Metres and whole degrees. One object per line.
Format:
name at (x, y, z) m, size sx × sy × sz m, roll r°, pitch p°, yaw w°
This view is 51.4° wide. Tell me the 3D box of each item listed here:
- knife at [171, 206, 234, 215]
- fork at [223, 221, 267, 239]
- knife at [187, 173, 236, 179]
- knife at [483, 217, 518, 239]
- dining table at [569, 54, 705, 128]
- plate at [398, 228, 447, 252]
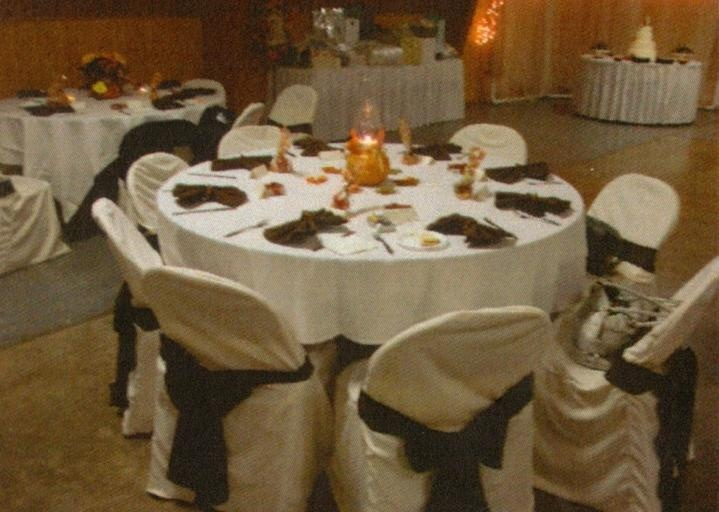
knife at (-0.774, -0.222, 3.692) m, size 0.283 × 0.006 × 0.034 m, roll -4°, pitch 47°, yaw -8°
fork at (-0.532, -0.123, 3.507) m, size 0.252 × 0.033 × 0.065 m, roll -22°, pitch 32°, yaw -38°
knife at (-0.827, -0.442, 4.149) m, size 0.239 × 0.017 × 0.032 m, roll 2°, pitch 11°, yaw 12°
knife at (0.656, -0.132, 3.519) m, size 0.203 × 0.054 × 0.042 m, roll 37°, pitch 4°, yaw 41°
dining table at (3.643, -2.088, 10.057) m, size 1.302 × 0.645 × 1.210 m, roll -9°, pitch 24°, yaw -23°
plate at (0.287, -0.067, 3.431) m, size 0.237 × 0.049 × 0.168 m, roll 0°, pitch 17°, yaw 3°
